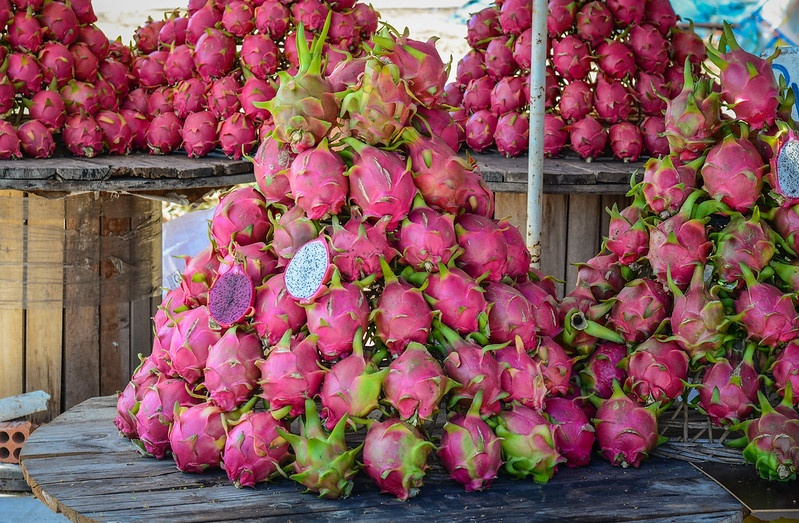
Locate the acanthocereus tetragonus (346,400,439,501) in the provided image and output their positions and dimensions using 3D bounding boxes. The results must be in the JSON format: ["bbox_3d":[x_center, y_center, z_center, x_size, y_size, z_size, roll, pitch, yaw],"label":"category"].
[{"bbox_3d":[-0.038,0.511,2.552,0.196,0.310,0.175,-31,-15,-14],"label":"acanthocereus tetragonus"}]

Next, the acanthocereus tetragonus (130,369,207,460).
[{"bbox_3d":[-0.695,0.441,2.656,0.190,0.223,0.192,-15,-15,42],"label":"acanthocereus tetragonus"}]

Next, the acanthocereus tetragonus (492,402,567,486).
[{"bbox_3d":[0.352,0.515,2.634,0.216,0.222,0.261,-5,6,-12],"label":"acanthocereus tetragonus"}]

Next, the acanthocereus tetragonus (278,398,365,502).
[{"bbox_3d":[-0.229,0.504,2.532,0.228,0.284,0.177,-13,-1,-38],"label":"acanthocereus tetragonus"}]

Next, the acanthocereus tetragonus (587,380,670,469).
[{"bbox_3d":[0.661,0.503,2.715,0.221,0.171,0.259,2,33,12],"label":"acanthocereus tetragonus"}]

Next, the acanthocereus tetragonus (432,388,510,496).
[{"bbox_3d":[0.197,0.512,2.575,0.173,0.265,0.154,-9,-24,8],"label":"acanthocereus tetragonus"}]
